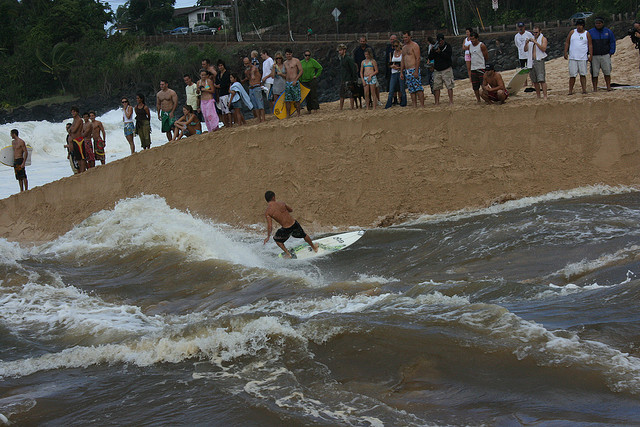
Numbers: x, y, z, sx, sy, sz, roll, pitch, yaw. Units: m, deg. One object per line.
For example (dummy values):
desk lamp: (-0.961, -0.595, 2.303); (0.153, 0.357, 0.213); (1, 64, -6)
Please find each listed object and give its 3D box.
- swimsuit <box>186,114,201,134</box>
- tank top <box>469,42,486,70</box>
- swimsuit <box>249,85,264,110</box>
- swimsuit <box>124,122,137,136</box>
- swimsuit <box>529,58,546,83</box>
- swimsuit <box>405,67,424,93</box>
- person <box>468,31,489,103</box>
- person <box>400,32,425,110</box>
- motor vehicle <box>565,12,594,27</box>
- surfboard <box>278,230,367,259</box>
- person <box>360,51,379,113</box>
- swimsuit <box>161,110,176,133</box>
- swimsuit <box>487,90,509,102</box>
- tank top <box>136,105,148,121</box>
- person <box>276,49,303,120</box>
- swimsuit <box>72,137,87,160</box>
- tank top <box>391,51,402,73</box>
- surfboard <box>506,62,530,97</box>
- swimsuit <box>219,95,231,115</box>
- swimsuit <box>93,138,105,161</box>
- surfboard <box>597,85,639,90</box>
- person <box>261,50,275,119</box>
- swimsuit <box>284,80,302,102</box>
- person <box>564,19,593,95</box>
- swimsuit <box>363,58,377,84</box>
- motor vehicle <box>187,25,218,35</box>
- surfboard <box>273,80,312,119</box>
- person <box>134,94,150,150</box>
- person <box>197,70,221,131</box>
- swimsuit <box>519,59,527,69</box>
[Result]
swimsuit: (-4.008, -2.844, 30.012); (0.258, 0.380, 0.189); (-8, 22, 6)
tank top: (4.769, -4.880, 28.282); (0.426, 0.836, 0.543); (-6, 7, 11)
swimsuit: (-2.033, -3.762, 29.506); (0.378, 0.778, 0.344); (-7, 7, 1)
swimsuit: (-6.208, -2.787, 30.556); (0.450, 0.621, 0.345); (-1, 0, -9)
swimsuit: (6.481, -4.344, 27.806); (0.425, 0.709, 0.376); (-6, 7, 14)
swimsuit: (2.810, -4.086, 28.025); (0.456, 0.737, 0.504); (-7, 7, 8)
person: (4.818, -4.541, 28.261); (0.558, 2.139, 0.865); (-6, 7, 10)
person: (2.756, -4.396, 28.282); (0.635, 2.374, 1.295); (-6, 7, 6)
motor vehicle: (15.075, -11.665, 54.628); (1.424, 0.804, 3.811); (-6, 8, 16)
surfboard: (0.070, 0.900, 26.097); (1.763, 0.381, 0.222); (-14, -34, -7)
person: (1.521, -4.130, 28.565); (0.543, 1.863, 0.812); (-7, 7, 3)
swimsuit: (-4.903, -3.053, 30.109); (0.463, 0.702, 0.334); (-9, 7, -10)
swimsuit: (5.148, -3.567, 27.734); (0.332, 0.216, 0.454); (-2, -10, 4)
tank top: (-5.730, -3.302, 29.849); (0.432, 0.590, 0.314); (-3, 8, 3)
person: (-0.853, -4.122, 29.095); (0.776, 2.205, 0.854); (-11, 8, -32)
swimsuit: (-7.909, -2.222, 30.636); (0.329, 0.620, 0.454); (31, 42, 33)
tank top: (2.326, -4.640, 28.233); (0.235, 0.534, 0.479); (-9, 7, -13)
surfboard: (5.977, -4.095, 28.218); (0.352, 0.336, 1.559); (14, -24, 8)
swimsuit: (-3.018, -3.569, 29.629); (0.403, 0.565, 0.304); (12, 28, 23)
swimsuit: (-7.335, -2.165, 30.848); (0.315, 0.692, 0.385); (-9, 7, -17)
surfboard: (9.043, -3.881, 28.084); (1.023, 0.055, 0.139); (-5, -17, -6)
person: (-1.605, -4.175, 29.514); (0.436, 2.231, 0.897); (-7, 7, -3)
swimsuit: (-0.846, -3.901, 29.276); (0.694, 0.862, 0.481); (0, 29, -1)
person: (7.721, -4.744, 27.746); (0.824, 2.225, 0.892); (-5, 7, 15)
swimsuit: (1.568, -4.430, 28.555); (0.506, 0.766, 0.276); (-14, 9, -41)
motor vehicle: (-9.249, -14.371, 71.777); (2.084, 0.659, 1.180); (3, 11, 16)
surfboard: (-1.010, -3.502, 29.613); (0.767, 0.417, 1.758); (17, 39, 7)
person: (-5.709, -3.002, 29.940); (0.492, 1.795, 1.018); (-8, 7, -11)
person: (-3.576, -3.649, 29.595); (0.555, 1.897, 0.638); (-8, 7, -7)
swimsuit: (6.428, -4.885, 29.568); (0.284, 0.343, 0.301); (0, 26, 5)
